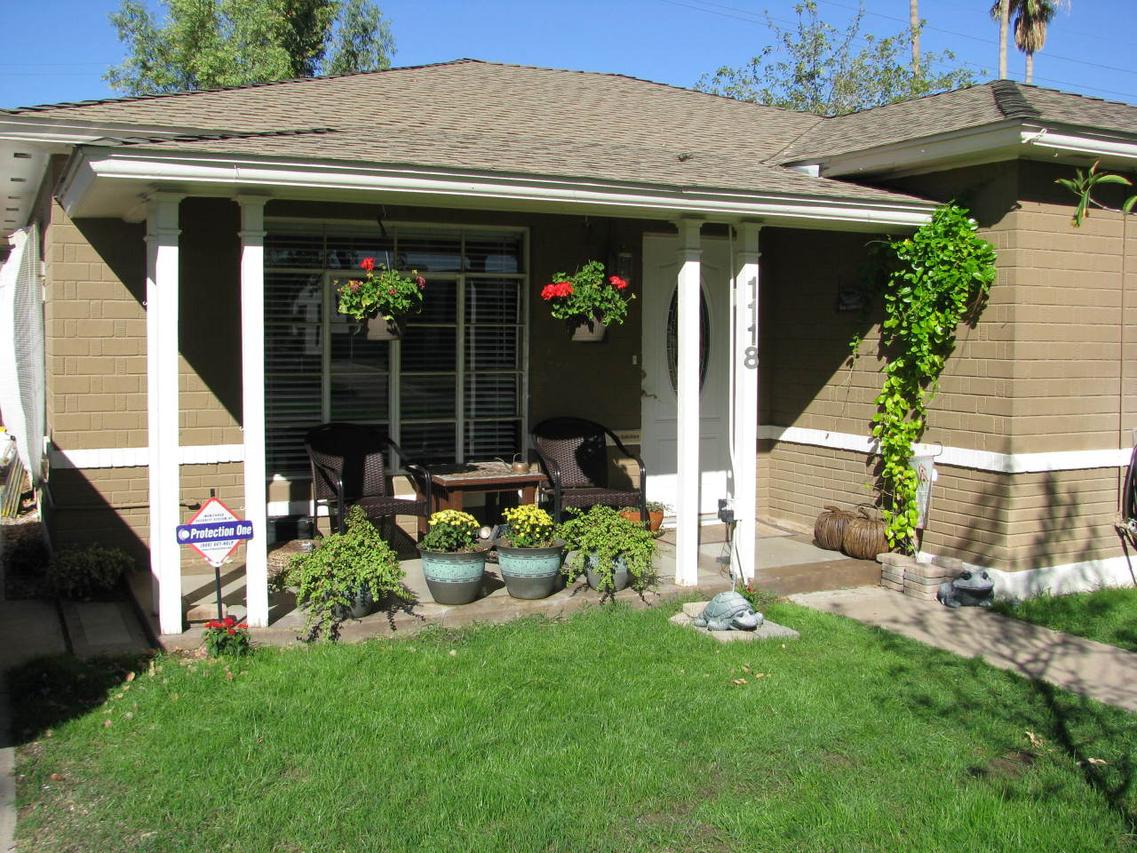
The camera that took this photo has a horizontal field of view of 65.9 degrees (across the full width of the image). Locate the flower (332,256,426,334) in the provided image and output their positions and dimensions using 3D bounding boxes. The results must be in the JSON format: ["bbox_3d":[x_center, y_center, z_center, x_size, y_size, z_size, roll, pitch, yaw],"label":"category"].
[{"bbox_3d":[-1.546,-1.045,7.177,0.640,0.634,0.458,-2,10,-18],"label":"flower"}]
